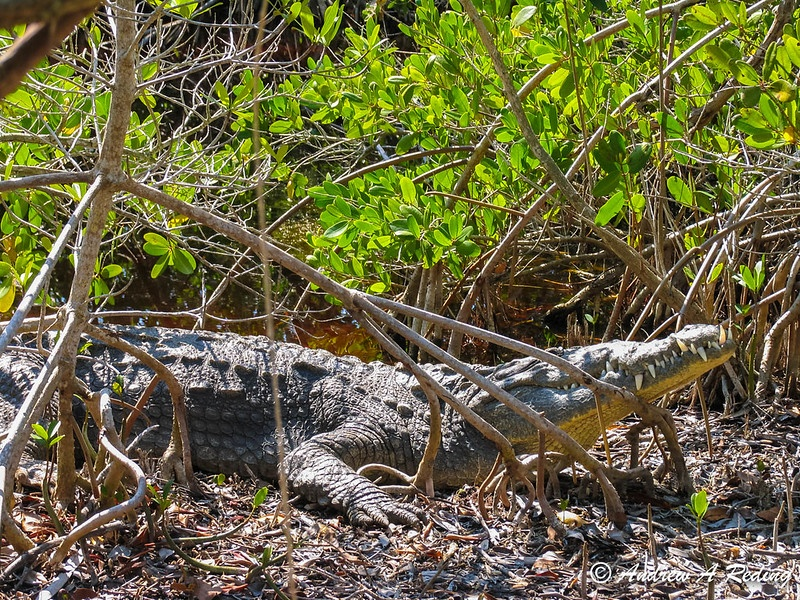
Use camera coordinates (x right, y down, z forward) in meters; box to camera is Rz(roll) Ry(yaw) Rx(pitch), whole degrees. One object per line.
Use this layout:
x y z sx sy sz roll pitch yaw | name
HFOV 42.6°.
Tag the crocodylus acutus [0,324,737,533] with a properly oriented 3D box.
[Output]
-0.186 0.489 4.675 2.199 0.610 1.424 1 -1 15 | crocodylus acutus
